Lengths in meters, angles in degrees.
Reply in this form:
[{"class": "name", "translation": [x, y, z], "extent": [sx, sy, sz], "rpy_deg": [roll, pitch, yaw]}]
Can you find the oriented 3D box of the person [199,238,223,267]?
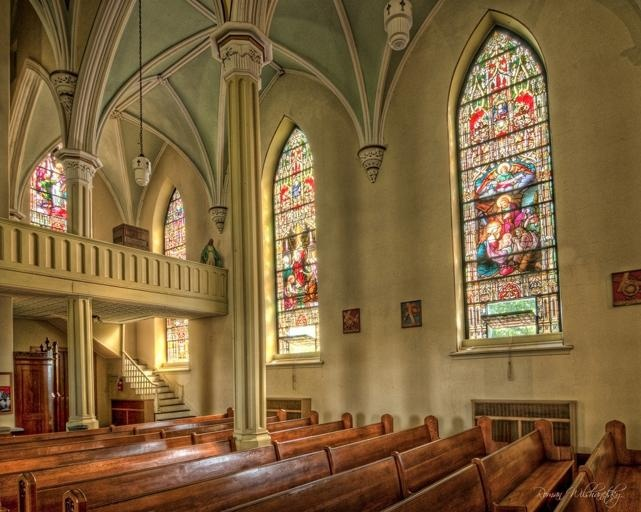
[{"class": "person", "translation": [-3.129, -0.095, 16.074], "extent": [0.745, 1.208, 0.341], "rpy_deg": [-1, -2, 14]}]
